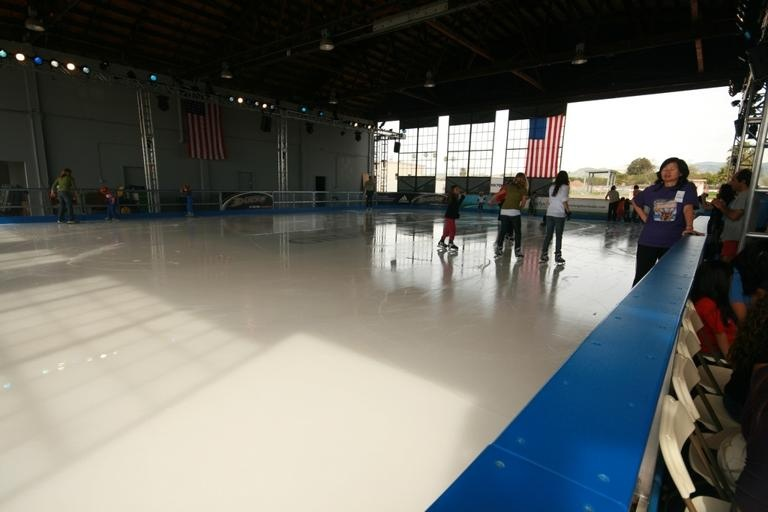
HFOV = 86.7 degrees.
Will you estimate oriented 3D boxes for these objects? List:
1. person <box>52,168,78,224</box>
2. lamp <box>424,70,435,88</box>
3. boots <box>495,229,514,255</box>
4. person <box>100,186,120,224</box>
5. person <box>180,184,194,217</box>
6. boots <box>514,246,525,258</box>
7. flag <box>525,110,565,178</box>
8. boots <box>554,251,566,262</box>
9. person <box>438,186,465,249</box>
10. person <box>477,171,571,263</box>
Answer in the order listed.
[{"bbox_3d":[-8.043,-1.495,10.221,0.436,1.320,0.916,-8,15,-36],"label":"person"},{"bbox_3d":[1.416,-5.394,12.431,0.299,0.526,0.971,2,11,4],"label":"lamp"},{"bbox_3d":[2.415,-0.262,7.875,0.300,0.345,1.425,1,2,20],"label":"boots"},{"bbox_3d":[-7.660,-1.465,11.356,0.302,0.889,0.921,-7,14,-34],"label":"person"},{"bbox_3d":[-6.289,-1.756,13.026,0.333,0.955,1.066,-5,13,-26],"label":"person"},{"bbox_3d":[2.421,-0.082,7.230,0.189,0.136,0.266,1,8,24],"label":"boots"},{"bbox_3d":[6.907,-4.598,17.273,0.380,2.538,1.591,-10,17,-42],"label":"flag"},{"bbox_3d":[2.935,0.009,6.714,0.178,0.186,0.316,6,12,23],"label":"boots"},{"bbox_3d":[1.283,-0.747,7.733,0.422,1.182,1.515,3,11,8],"label":"person"},{"bbox_3d":[2.583,-0.690,6.935,1.229,1.453,1.165,10,15,37],"label":"person"}]
